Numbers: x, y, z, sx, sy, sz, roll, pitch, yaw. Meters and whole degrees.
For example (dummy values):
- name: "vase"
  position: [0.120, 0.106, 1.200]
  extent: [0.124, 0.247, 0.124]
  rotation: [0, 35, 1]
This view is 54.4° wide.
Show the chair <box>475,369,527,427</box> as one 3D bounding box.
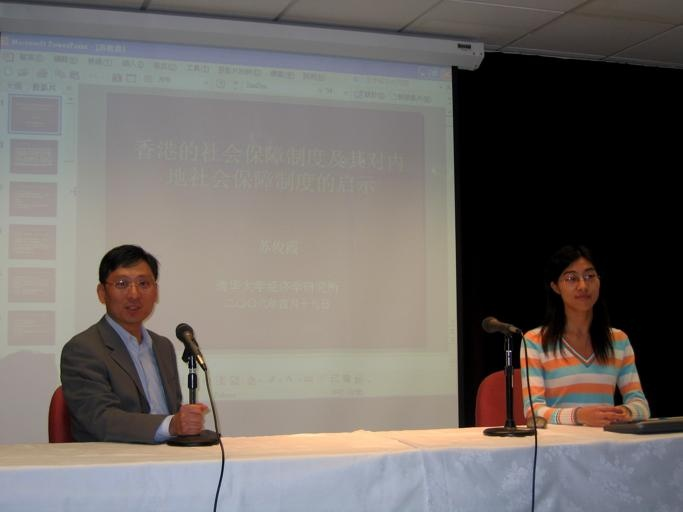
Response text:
- name: "chair"
  position: [0.820, 0.754, 3.639]
  extent: [0.305, 0.312, 0.251]
  rotation: [4, 1, -36]

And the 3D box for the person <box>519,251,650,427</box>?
- name: "person"
  position: [1.226, 0.369, 3.355]
  extent: [0.582, 0.945, 0.661]
  rotation: [-1, 0, 16]

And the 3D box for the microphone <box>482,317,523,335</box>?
- name: "microphone"
  position: [0.713, 0.309, 2.981]
  extent: [0.137, 0.075, 0.221]
  rotation: [-1, -1, 2]

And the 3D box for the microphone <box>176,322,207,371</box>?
- name: "microphone"
  position: [-0.590, 0.361, 2.641]
  extent: [0.072, 0.074, 0.300]
  rotation: [-14, 30, -25]
